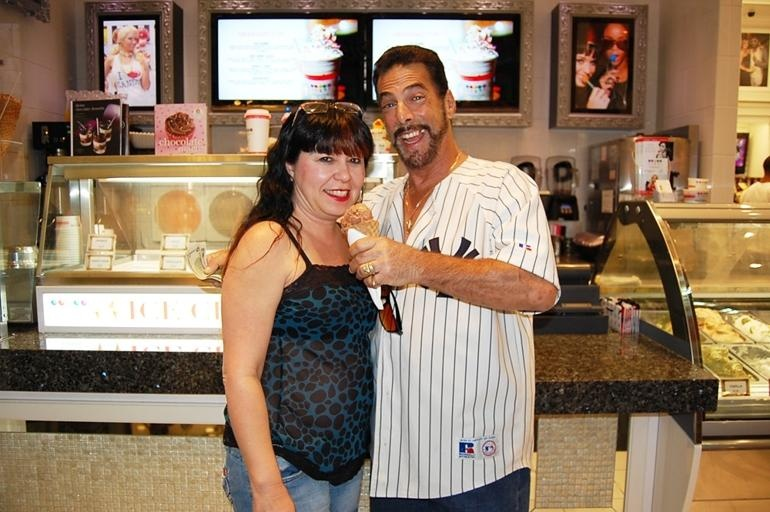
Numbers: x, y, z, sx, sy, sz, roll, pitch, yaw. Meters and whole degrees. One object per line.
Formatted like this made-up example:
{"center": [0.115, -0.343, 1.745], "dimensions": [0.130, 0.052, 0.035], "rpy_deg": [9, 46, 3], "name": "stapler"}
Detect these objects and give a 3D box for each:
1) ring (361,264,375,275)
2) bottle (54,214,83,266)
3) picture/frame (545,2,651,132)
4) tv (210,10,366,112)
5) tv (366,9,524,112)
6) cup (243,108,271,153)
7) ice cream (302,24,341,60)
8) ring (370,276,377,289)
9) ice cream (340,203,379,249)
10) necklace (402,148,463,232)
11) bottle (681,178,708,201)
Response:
{"center": [-0.074, 0.052, 2.854], "dimensions": [0.050, 0.047, 0.015], "rpy_deg": [3, 16, 22], "name": "ring"}
{"center": [-1.851, -0.095, 3.836], "dimensions": [0.138, 0.288, 0.059], "rpy_deg": [-3, 7, -26], "name": "bottle"}
{"center": [1.875, -1.701, 5.805], "dimensions": [1.204, 1.455, 0.294], "rpy_deg": [1, -1, -3], "name": "picture/frame"}
{"center": [-0.776, -1.683, 5.532], "dimensions": [1.571, 0.891, 0.077], "rpy_deg": [1, 1, 1], "name": "tv"}
{"center": [0.434, -1.519, 4.868], "dimensions": [1.565, 1.009, 0.166], "rpy_deg": [0, 1, 0], "name": "tv"}
{"center": [-0.725, -0.715, 3.725], "dimensions": [0.228, 0.279, 0.242], "rpy_deg": [-1, 10, 0], "name": "cup"}
{"center": [-0.546, -1.830, 5.551], "dimensions": [0.304, 0.183, 0.294], "rpy_deg": [-2, 6, -1], "name": "ice cream"}
{"center": [-0.050, 0.111, 2.869], "dimensions": [0.025, 0.041, 0.036], "rpy_deg": [-6, 13, 6], "name": "ring"}
{"center": [-0.124, -0.144, 3.031], "dimensions": [0.174, 0.206, 0.196], "rpy_deg": [-13, -19, -15], "name": "ice cream"}
{"center": [0.206, -0.322, 3.223], "dimensions": [0.303, 0.392, 0.136], "rpy_deg": [7, -15, 12], "name": "necklace"}
{"center": [2.013, -0.424, 4.217], "dimensions": [0.187, 0.170, 0.145], "rpy_deg": [1, 3, 5], "name": "bottle"}
